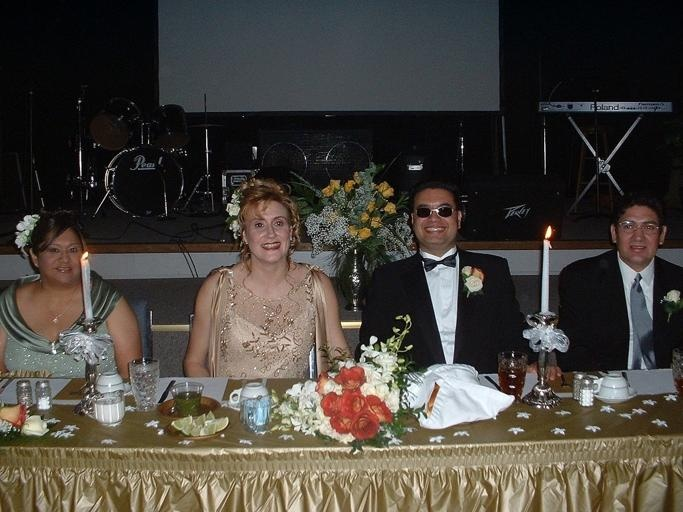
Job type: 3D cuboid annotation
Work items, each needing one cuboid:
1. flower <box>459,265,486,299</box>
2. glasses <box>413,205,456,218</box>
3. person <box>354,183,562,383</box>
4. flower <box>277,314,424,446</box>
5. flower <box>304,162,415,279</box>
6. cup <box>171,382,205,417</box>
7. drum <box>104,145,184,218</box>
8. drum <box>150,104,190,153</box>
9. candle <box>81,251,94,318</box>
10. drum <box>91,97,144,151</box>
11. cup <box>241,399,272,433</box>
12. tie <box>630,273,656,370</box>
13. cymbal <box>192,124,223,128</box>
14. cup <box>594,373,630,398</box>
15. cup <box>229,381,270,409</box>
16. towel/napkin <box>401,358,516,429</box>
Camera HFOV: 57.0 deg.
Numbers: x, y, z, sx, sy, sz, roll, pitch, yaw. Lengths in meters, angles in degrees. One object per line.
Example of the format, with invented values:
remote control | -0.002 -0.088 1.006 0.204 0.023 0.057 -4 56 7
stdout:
flower | 0.782 0.155 3.777 0.179 0.167 0.070 -4 -11 -8
glasses | 0.557 -0.268 3.843 0.224 0.084 0.050 2 13 12
person | 0.595 0.323 3.843 1.161 1.519 0.864 -2 -5 0
flower | -0.006 0.587 2.684 0.592 0.431 0.293 -12 -45 7
flower | 0.119 -0.205 4.685 0.790 0.737 0.739 6 -20 -13
cup | -0.676 0.629 2.755 0.141 0.105 0.143 1 -6 0
drum | -2.844 -1.081 8.992 1.087 1.013 0.541 8 -2 -32
drum | -2.417 -1.804 8.773 0.501 0.615 0.751 -4 13 -16
candle | -1.171 0.126 2.868 0.046 0.304 0.317 -6 13 -22
drum | -3.238 -1.883 8.949 0.365 0.700 0.741 6 14 28
cup | -0.363 0.669 2.651 0.140 0.179 0.135 1 -2 0
tie | 1.811 0.433 3.781 0.156 0.712 0.070 -2 33 24
cymbal | -2.028 -1.924 9.261 0.373 0.050 0.846 0 12 3
cup | 1.238 0.586 2.881 0.116 0.077 0.116 1 -5 0
cup | -0.436 0.611 2.789 0.193 0.121 0.113 -6 -4 8
towel/napkin | 0.481 0.590 2.680 0.332 0.289 0.098 14 -44 10
